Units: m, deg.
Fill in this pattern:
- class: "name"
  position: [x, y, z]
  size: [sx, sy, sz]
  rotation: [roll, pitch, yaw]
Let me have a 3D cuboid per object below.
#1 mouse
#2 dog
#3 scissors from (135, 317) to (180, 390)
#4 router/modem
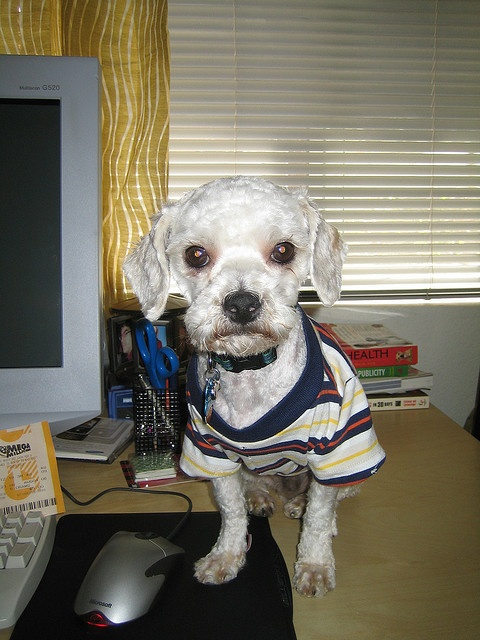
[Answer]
- class: "mouse"
  position: [-0.159, 0.361, 0.802]
  size: [0.102, 0.059, 0.155]
  rotation: [3, 19, 15]
- class: "dog"
  position: [0.065, 0.092, 1.099]
  size: [0.451, 0.762, 0.547]
  rotation: [0, 22, 8]
- class: "scissors"
  position: [-0.179, 0.076, 1.220]
  size: [0.068, 0.185, 0.141]
  rotation: [0, 2, 0]
- class: "router/modem"
  position: [-0.308, 0.254, 1.170]
  size: [0.110, 0.020, 0.114]
  rotation: [0, 15, 7]
